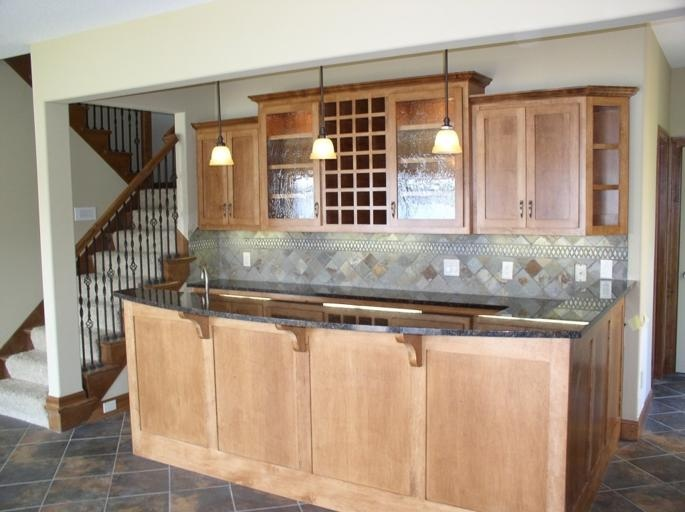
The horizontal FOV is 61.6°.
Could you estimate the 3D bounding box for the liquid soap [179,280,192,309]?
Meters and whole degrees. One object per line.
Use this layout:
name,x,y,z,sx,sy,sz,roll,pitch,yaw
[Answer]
liquid soap,-1.342,0.328,4.851,0.109,0.196,0.107,0,-6,-15

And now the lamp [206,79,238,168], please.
lamp,-1.149,-1.267,5.431,0.241,0.864,1.545,0,6,-13

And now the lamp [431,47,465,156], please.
lamp,0.804,-1.238,4.434,0.247,0.913,1.133,2,6,11

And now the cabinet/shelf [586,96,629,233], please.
cabinet/shelf,2.150,-0.719,4.734,0.342,1.118,0.274,0,8,17

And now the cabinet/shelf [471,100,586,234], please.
cabinet/shelf,1.586,-0.765,4.795,1.122,1.382,0.415,1,4,18

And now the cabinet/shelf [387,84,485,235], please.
cabinet/shelf,0.732,-0.848,5.112,0.840,1.278,0.372,1,14,16
